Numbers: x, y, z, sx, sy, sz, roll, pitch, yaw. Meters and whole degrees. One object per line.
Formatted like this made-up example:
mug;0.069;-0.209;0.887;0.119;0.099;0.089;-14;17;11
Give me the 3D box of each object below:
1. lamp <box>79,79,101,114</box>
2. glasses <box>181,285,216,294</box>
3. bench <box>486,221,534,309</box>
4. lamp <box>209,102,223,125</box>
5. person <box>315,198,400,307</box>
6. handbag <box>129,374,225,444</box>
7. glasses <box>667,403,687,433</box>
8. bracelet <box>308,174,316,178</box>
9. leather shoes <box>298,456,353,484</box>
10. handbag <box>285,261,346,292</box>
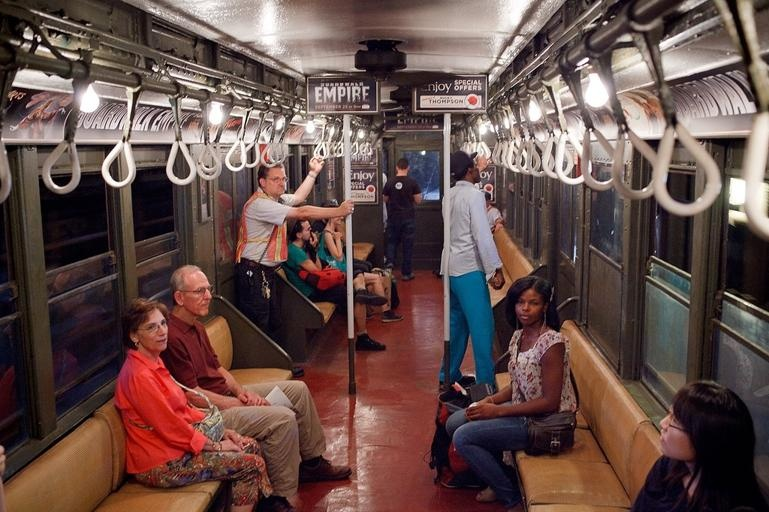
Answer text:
lamp;-1.663;-0.892;2.768;0.068;0.149;0.208;-4;11;-17
glasses;-1.671;0.302;4.380;0.210;0.064;0.209;-3;0;26
bench;1.885;0.120;7.374;0.442;0.560;1.392;-2;14;5
lamp;-1.511;-1.274;4.433;0.124;0.203;0.360;-4;11;-17
person;-0.526;-0.095;9.533;0.869;1.576;2.377;-2;6;-1
handbag;-1.581;1.163;3.686;0.452;0.483;0.546;-6;1;-21
glasses;1.364;0.769;2.283;0.077;0.023;0.074;24;5;-7
bracelet;-0.904;-0.988;6.097;0.065;0.049;0.066;1;4;4
leather shoes;-0.584;2.067;4.843;0.552;0.257;0.207;0;2;-6
handbag;-1.112;0.347;7.899;0.713;0.287;0.478;10;1;5
